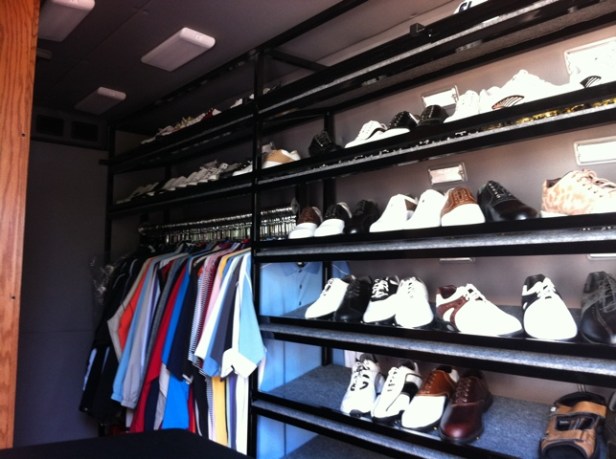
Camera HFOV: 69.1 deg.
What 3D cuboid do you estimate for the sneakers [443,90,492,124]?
[{"bbox_3d":[0.660,-0.512,1.855,0.087,0.097,0.246,1,35,43],"label":"sneakers"}]

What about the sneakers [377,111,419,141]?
[{"bbox_3d":[0.431,-0.480,2.077,0.089,0.101,0.245,-13,11,41],"label":"sneakers"}]

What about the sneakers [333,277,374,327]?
[{"bbox_3d":[0.220,0.338,2.097,0.096,0.111,0.275,-1,18,20],"label":"sneakers"}]

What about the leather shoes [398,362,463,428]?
[{"bbox_3d":[0.530,0.697,1.916,0.120,0.125,0.347,-7,22,41],"label":"leather shoes"}]

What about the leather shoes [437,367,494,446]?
[{"bbox_3d":[0.663,0.718,1.840,0.124,0.154,0.349,-6,7,29],"label":"leather shoes"}]

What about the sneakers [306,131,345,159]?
[{"bbox_3d":[0.073,-0.441,2.314,0.254,0.156,0.095,2,6,37],"label":"sneakers"}]

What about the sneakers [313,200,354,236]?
[{"bbox_3d":[0.118,-0.044,2.214,0.093,0.102,0.265,-7,7,21],"label":"sneakers"}]

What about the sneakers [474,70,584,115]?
[{"bbox_3d":[0.851,-0.553,1.740,0.370,0.168,0.141,-4,-7,36],"label":"sneakers"}]

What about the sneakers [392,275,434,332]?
[{"bbox_3d":[0.456,0.317,1.922,0.153,0.194,0.139,-1,-6,13],"label":"sneakers"}]

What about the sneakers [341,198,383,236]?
[{"bbox_3d":[0.255,-0.071,2.180,0.091,0.106,0.262,-19,13,22],"label":"sneakers"}]

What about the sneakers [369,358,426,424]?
[{"bbox_3d":[0.400,0.715,1.995,0.121,0.116,0.315,-12,16,34],"label":"sneakers"}]

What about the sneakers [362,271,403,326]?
[{"bbox_3d":[0.346,0.315,2.063,0.096,0.111,0.276,-20,15,26],"label":"sneakers"}]

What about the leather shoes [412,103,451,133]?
[{"bbox_3d":[0.542,-0.487,1.959,0.128,0.153,0.223,-2,-6,19],"label":"leather shoes"}]

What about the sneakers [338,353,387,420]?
[{"bbox_3d":[0.250,0.721,2.042,0.110,0.138,0.303,-9,12,18],"label":"sneakers"}]

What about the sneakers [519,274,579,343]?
[{"bbox_3d":[0.891,0.290,1.713,0.121,0.119,0.319,-19,9,11],"label":"sneakers"}]
